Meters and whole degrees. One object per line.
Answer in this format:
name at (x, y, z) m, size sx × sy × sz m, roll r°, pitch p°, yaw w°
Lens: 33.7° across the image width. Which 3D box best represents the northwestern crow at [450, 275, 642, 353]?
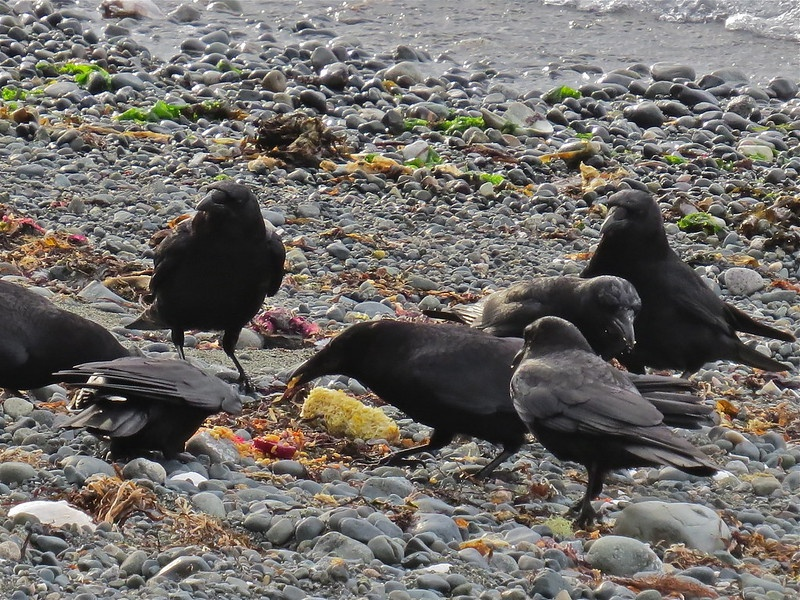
northwestern crow at (1.151, 0.031, 10.065) m, size 1.612 × 0.450 × 0.549 m, roll 16°, pitch 21°, yaw 29°
